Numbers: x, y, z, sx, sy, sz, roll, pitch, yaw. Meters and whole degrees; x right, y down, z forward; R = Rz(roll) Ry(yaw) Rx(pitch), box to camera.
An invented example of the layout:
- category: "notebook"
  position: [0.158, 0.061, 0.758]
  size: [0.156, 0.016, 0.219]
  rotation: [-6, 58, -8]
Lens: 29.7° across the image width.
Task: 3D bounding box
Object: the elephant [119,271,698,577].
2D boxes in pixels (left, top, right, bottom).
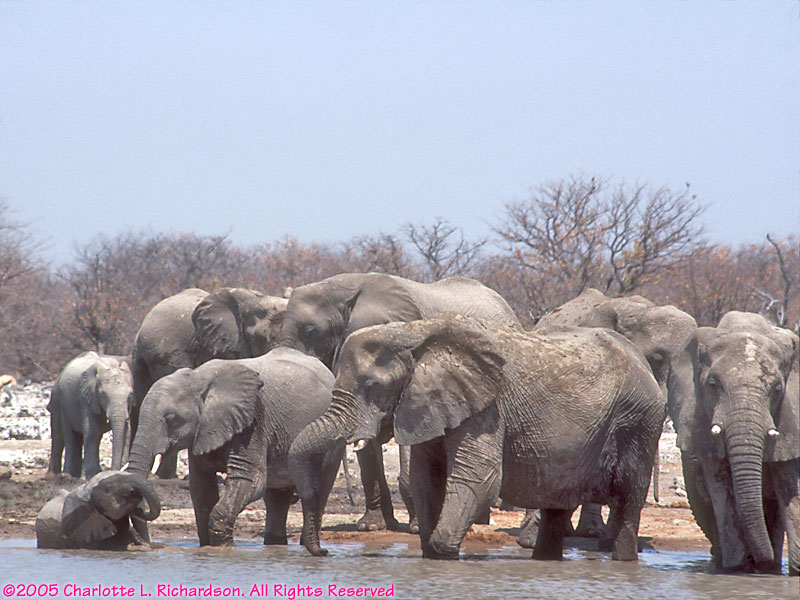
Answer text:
- category: "elephant"
  position: [0.069, 1.514, 17.293]
  size: [5.734, 3.437, 2.604]
  rotation: [4, -7, -22]

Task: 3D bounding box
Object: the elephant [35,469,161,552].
- category: "elephant"
  position: [-3.229, 2.295, 16.582]
  size: [1.252, 0.854, 0.745]
  rotation: [-18, 10, 9]
